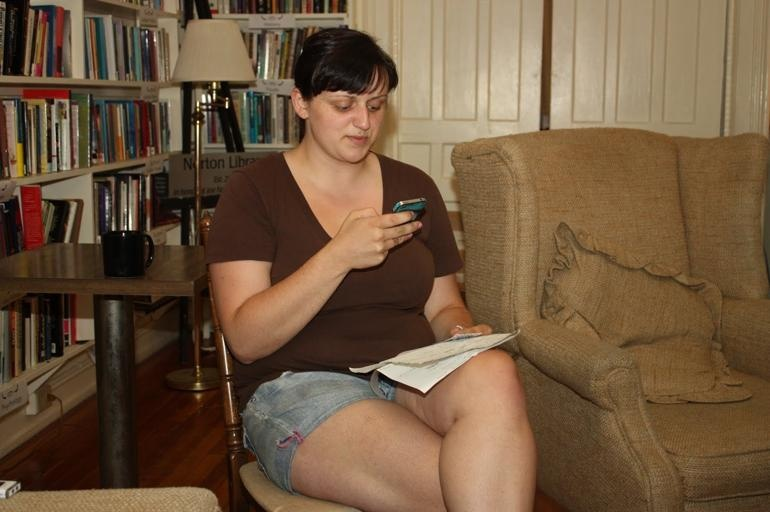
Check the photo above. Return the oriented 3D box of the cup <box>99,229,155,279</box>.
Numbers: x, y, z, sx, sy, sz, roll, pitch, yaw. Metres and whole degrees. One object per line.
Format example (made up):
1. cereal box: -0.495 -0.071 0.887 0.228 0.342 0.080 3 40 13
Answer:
1. cup: -0.863 -0.007 2.126 0.177 0.150 0.134 3 -4 -32

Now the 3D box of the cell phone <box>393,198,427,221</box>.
1. cell phone: 0.066 -0.132 1.820 0.074 0.059 0.013 -19 48 -14

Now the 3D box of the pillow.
1. pillow: 0.929 0.266 2.535 0.712 0.584 0.327 17 -23 -4
